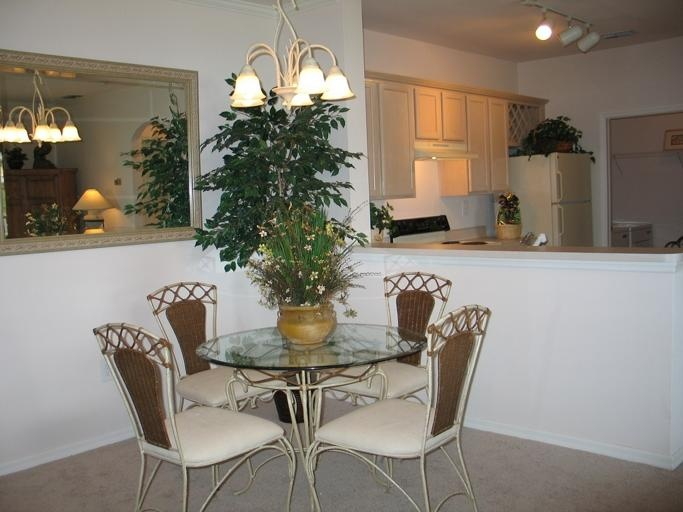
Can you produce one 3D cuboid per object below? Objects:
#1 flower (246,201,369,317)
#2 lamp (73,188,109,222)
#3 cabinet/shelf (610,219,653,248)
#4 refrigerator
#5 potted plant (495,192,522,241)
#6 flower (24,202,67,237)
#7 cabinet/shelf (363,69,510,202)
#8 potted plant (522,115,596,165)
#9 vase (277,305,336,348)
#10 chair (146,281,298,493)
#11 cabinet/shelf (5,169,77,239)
[{"bbox_3d":[-0.124,0.006,2.947,0.839,0.779,0.719,0,5,12],"label":"flower"},{"bbox_3d":[-1.655,-0.345,3.373,0.186,0.210,0.190,-5,13,-19],"label":"lamp"},{"bbox_3d":[4.249,-0.287,7.360,0.502,0.375,1.553,3,8,32],"label":"cabinet/shelf"},{"bbox_3d":[2.713,-0.696,6.348,1.075,1.159,0.572,-3,7,-15],"label":"refrigerator"},{"bbox_3d":[1.722,-0.404,5.208,0.236,0.488,0.317,1,7,17],"label":"potted plant"},{"bbox_3d":[-1.865,-0.238,3.281,0.222,0.259,0.187,-7,13,-10],"label":"flower"},{"bbox_3d":[1.087,-1.215,5.373,0.399,1.174,2.384,4,9,39],"label":"cabinet/shelf"},{"bbox_3d":[2.657,-1.460,6.254,0.644,0.389,0.636,-3,8,-37],"label":"potted plant"},{"bbox_3d":[-0.190,0.369,2.770,0.326,0.220,0.337,-1,2,29],"label":"vase"},{"bbox_3d":[-0.683,0.716,3.757,1.091,1.700,1.021,2,6,33],"label":"chair"},{"bbox_3d":[-1.911,-0.342,3.189,0.424,0.414,0.159,-4,5,-42],"label":"cabinet/shelf"}]
